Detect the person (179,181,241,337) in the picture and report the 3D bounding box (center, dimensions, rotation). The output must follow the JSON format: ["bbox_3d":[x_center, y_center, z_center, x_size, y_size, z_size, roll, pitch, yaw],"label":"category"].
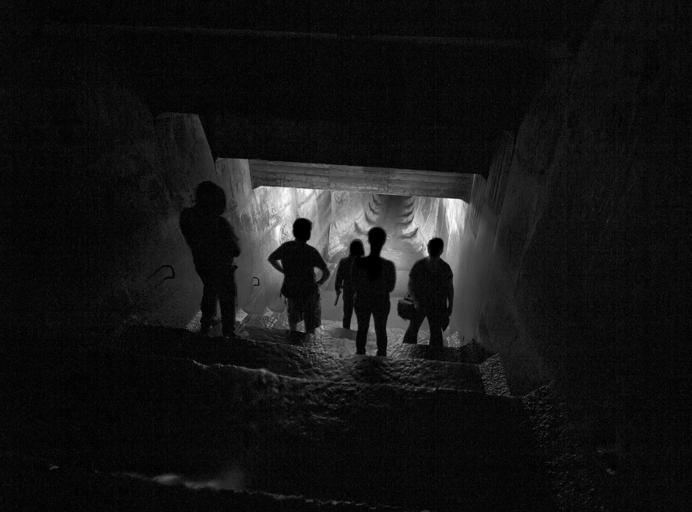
[{"bbox_3d":[-1.171,0.036,5.308,0.511,1.098,0.490,4,-2,6],"label":"person"}]

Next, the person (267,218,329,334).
[{"bbox_3d":[-0.471,0.264,6.054,0.547,1.348,0.359,2,23,-2],"label":"person"}]

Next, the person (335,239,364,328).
[{"bbox_3d":[0.061,0.293,6.324,0.345,1.115,0.311,4,35,6],"label":"person"}]

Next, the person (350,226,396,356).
[{"bbox_3d":[0.249,0.349,5.584,0.393,1.394,0.414,1,24,2],"label":"person"}]

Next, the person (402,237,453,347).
[{"bbox_3d":[0.806,0.430,5.908,0.468,1.282,0.293,11,22,24],"label":"person"}]
